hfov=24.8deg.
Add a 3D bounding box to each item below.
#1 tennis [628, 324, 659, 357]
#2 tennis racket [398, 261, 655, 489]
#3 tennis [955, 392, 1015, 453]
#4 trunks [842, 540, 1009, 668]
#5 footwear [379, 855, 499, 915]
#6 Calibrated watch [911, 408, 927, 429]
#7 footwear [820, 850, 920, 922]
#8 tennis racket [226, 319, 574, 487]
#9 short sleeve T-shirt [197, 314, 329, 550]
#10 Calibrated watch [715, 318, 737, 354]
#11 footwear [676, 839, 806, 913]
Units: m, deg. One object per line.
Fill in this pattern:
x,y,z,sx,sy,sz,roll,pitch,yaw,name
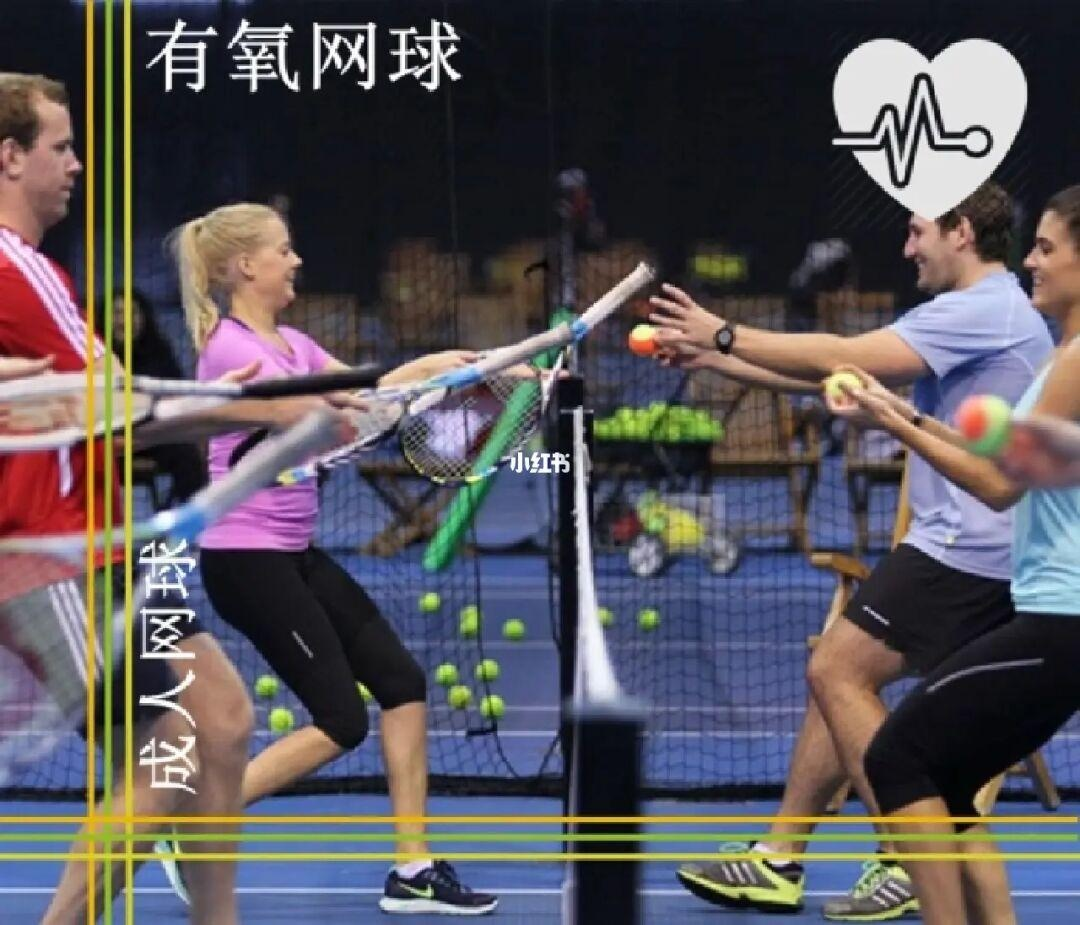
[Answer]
0.349,-0.433,8.386,0.108,0.099,0.103,-5,50,-22,tennis
-0.060,-0.406,8.591,0.393,1.122,0.166,35,30,-19,tennis racket
1.355,-0.119,7.495,0.133,0.112,0.111,45,4,-31,tennis
1.235,0.474,7.927,0.488,0.347,0.245,-5,42,3,trunks
-0.349,1.445,8.328,0.416,0.169,0.158,1,-2,0,footwear
1.182,-0.141,7.723,0.052,0.060,0.089,1,3,7,Calibrated watch
1.063,1.463,8.373,0.522,0.238,0.162,-3,-2,4,footwear
-0.387,-0.250,8.331,1.431,0.112,0.421,-20,51,-26,tennis racket
-0.894,-0.076,8.118,0.428,0.742,0.190,-1,-18,22,short sleeve T-shirt
0.628,-0.437,8.368,0.073,0.100,0.039,4,-3,32,Calibrated watch
0.707,1.437,8.367,0.547,0.257,0.178,2,-34,14,footwear
